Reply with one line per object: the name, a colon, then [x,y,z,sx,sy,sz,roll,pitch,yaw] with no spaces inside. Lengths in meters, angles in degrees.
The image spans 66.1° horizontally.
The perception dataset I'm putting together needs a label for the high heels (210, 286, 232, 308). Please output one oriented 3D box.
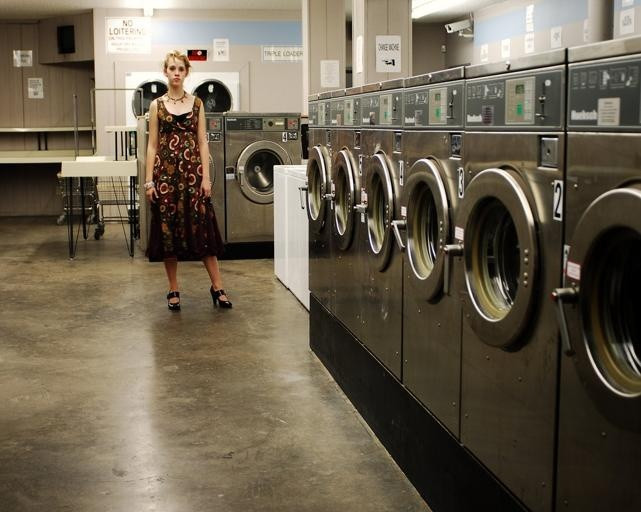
high heels: [-0.884,0.365,4.440,0.099,0.188,0.292,-2,13,-40]
